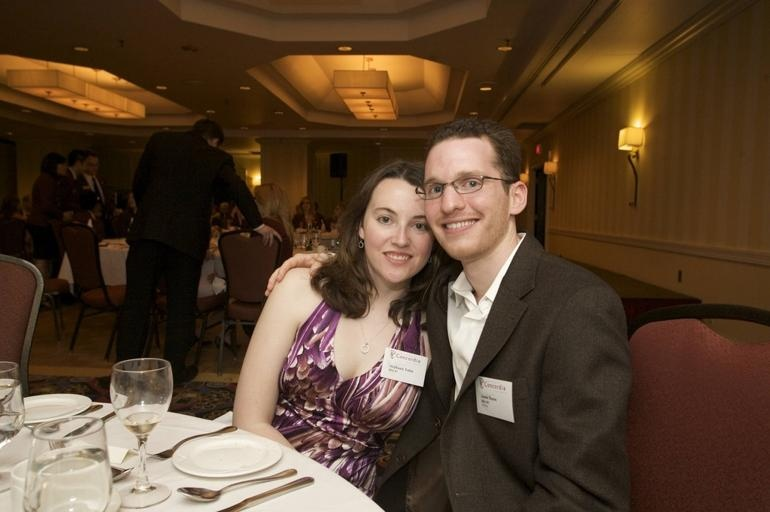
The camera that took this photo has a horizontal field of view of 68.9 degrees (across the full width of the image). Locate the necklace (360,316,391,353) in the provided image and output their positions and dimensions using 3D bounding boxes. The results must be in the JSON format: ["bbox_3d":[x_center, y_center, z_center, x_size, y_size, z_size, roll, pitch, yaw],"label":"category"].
[{"bbox_3d":[-0.045,0.366,2.545,0.146,0.192,0.023,6,-35,29],"label":"necklace"}]

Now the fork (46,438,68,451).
[{"bbox_3d":[-0.904,0.519,1.546,0.023,0.030,0.033,10,-41,-19],"label":"fork"}]

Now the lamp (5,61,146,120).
[{"bbox_3d":[-4.877,-2.570,8.991,0.805,0.382,2.047,7,0,10],"label":"lamp"}]

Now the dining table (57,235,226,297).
[{"bbox_3d":[-2.423,0.124,5.115,1.008,0.308,1.057,1,-16,-2],"label":"dining table"}]
